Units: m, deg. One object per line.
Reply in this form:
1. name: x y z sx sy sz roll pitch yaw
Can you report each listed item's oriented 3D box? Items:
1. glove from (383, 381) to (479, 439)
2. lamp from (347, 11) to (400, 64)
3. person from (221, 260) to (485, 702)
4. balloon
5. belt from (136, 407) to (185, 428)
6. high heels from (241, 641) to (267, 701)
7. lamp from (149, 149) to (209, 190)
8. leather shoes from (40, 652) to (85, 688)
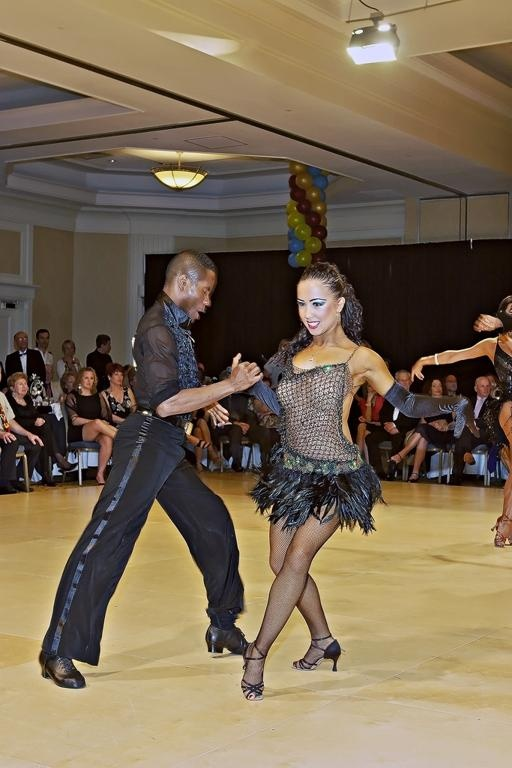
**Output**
1. glove: 1.760 0.324 6.162 1.095 0.441 0.761 7 11 -1
2. lamp: 1.222 -3.459 6.056 0.558 0.477 0.319 15 18 35
3. person: 0.302 0.301 1.918 0.815 1.316 0.618 0 6 32
4. balloon: 0.801 -2.629 9.567 0.587 1.741 0.584 5 -8 -19
5. belt: -0.326 0.121 2.109 0.120 0.033 0.084 20 -8 -1
6. high heels: -0.015 0.867 1.819 0.069 0.073 0.194 1 -17 -2
7. lamp: -1.364 -3.870 11.324 0.881 0.564 0.820 0 -1 4
8. leather shoes: -0.654 0.929 2.018 0.207 0.091 0.077 -1 -2 43
